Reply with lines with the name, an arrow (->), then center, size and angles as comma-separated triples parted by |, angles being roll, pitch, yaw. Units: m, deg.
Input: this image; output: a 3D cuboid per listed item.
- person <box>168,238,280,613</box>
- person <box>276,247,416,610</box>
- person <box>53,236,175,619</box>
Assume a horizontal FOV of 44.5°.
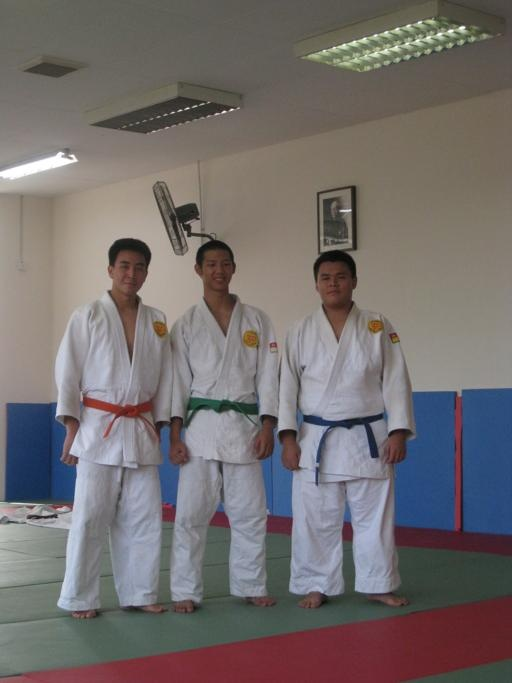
person -> -0.136, 0.324, 2.693 | 0.478, 1.580, 0.482 | -1, -1, -1
person -> 0.381, 0.358, 2.661 | 0.582, 1.516, 0.382 | -1, -1, 3
person -> -0.579, 0.320, 2.563 | 0.443, 1.515, 0.312 | -1, -1, -13
